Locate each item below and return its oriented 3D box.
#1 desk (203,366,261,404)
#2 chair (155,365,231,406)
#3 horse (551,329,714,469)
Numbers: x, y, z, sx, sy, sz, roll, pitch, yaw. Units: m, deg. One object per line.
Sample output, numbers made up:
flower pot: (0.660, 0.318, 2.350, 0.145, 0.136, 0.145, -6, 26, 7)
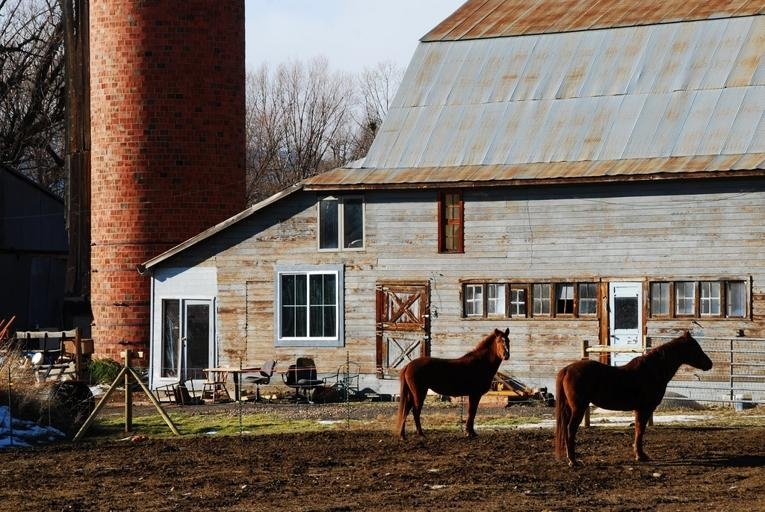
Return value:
desk: (-4.645, 3.644, 47.474, 1.118, 1.343, 1.719, 9, 4, 20)
chair: (-5.654, 4.192, 47.970, 1.409, 1.767, 1.214, 2, 4, -2)
horse: (6.202, 3.549, 38.530, 3.871, 3.161, 1.188, -1, -4, 3)
